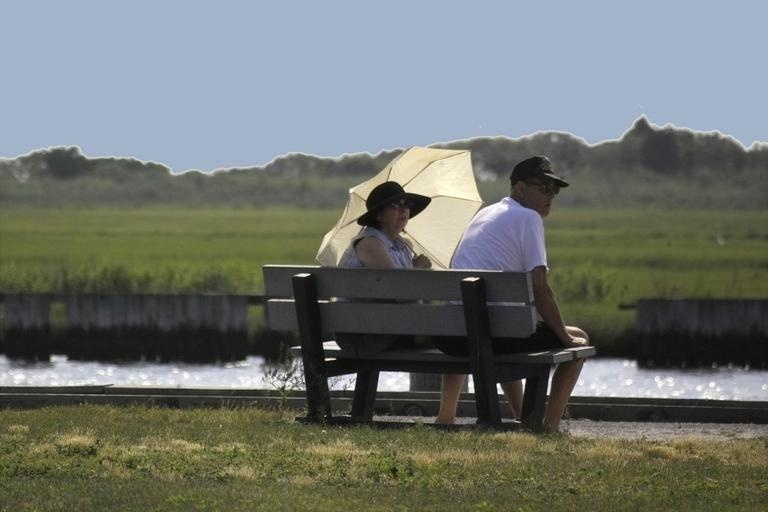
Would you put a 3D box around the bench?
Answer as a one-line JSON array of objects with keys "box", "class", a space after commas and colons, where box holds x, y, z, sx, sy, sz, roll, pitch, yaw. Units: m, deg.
[{"box": [0.712, 1.818, 40.039, 6.071, 3.226, 2.692, 1, 3, 32], "class": "bench"}]
